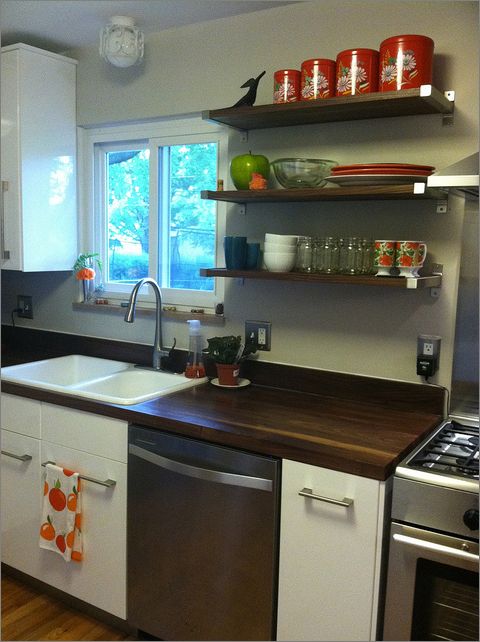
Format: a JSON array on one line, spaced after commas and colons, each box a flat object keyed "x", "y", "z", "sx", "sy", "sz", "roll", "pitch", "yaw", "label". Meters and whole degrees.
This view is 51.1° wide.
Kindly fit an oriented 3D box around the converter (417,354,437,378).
[{"x": 0.590, "y": 0.142, "z": 1.588, "sx": 0.064, "sy": 0.091, "sz": 0.051, "roll": 8, "pitch": 12, "yaw": 37, "label": "converter"}]

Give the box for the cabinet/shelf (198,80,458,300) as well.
[{"x": 0.309, "y": -0.434, "z": 1.646, "sx": 0.875, "sy": 0.622, "sz": 0.293, "roll": 0, "pitch": 0, "yaw": 31, "label": "cabinet/shelf"}]

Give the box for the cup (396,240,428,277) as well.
[{"x": 0.499, "y": -0.176, "z": 1.438, "sx": 0.092, "sy": 0.104, "sz": 0.091, "roll": 1, "pitch": 6, "yaw": 0, "label": "cup"}]

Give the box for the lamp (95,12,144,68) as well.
[{"x": -0.475, "y": -1.116, "z": 2.038, "sx": 0.164, "sy": 0.163, "sz": 0.166, "roll": 8, "pitch": 11, "yaw": 43, "label": "lamp"}]

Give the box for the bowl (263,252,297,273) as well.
[{"x": 0.134, "y": -0.191, "z": 1.716, "sx": 0.082, "sy": 0.054, "sz": 0.082, "roll": 0, "pitch": 1, "yaw": 0, "label": "bowl"}]

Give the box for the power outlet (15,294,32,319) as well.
[{"x": -1.210, "y": -0.082, "z": 2.805, "sx": 0.133, "sy": 0.137, "sz": 0.081, "roll": 3, "pitch": 3, "yaw": 37, "label": "power outlet"}]

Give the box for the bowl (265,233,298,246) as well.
[{"x": 0.139, "y": -0.280, "z": 1.722, "sx": 0.069, "sy": 0.032, "sz": 0.076, "roll": 1, "pitch": 2, "yaw": -21, "label": "bowl"}]

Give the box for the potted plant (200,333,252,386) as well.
[{"x": -0.046, "y": 0.150, "z": 1.956, "sx": 0.177, "sy": 0.182, "sz": 0.174, "roll": 0, "pitch": 3, "yaw": 14, "label": "potted plant"}]

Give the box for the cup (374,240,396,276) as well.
[{"x": 0.428, "y": -0.192, "z": 1.512, "sx": 0.057, "sy": 0.109, "sz": 0.101, "roll": 1, "pitch": 6, "yaw": 5, "label": "cup"}]

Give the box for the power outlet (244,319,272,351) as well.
[{"x": 0.071, "y": 0.057, "z": 1.967, "sx": 0.116, "sy": 0.120, "sz": 0.017, "roll": 4, "pitch": 4, "yaw": 39, "label": "power outlet"}]
